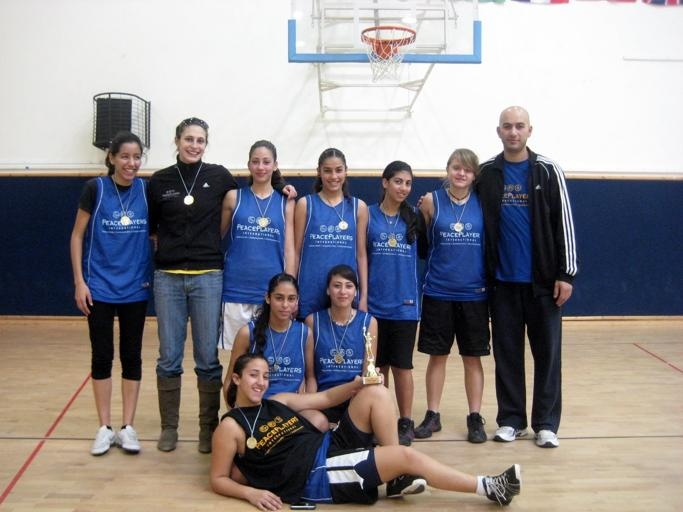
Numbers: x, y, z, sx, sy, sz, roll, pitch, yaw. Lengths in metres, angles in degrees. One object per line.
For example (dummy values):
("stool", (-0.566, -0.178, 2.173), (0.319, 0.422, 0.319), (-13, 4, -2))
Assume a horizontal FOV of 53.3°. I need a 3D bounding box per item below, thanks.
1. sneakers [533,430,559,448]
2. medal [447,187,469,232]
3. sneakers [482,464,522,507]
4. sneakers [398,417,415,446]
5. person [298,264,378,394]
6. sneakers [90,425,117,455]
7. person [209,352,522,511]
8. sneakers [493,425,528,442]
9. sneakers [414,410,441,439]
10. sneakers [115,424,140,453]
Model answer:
("sneakers", (1.380, 1.217, 4.565), (0.173, 0.093, 0.155), (1, 10, 6))
("medal", (0.798, -0.302, 4.695), (0.080, 0.302, 0.043), (2, -23, 4))
("sneakers", (0.892, 1.326, 3.953), (0.157, 0.371, 0.127), (3, 39, -18))
("sneakers", (0.426, 1.183, 4.538), (0.105, 0.145, 0.331), (-2, -12, 6))
("person", (-0.024, 0.531, 4.393), (0.558, 0.929, 0.509), (6, 15, 26))
("sneakers", (-1.535, 1.204, 4.407), (0.083, 0.110, 0.227), (-1, 1, 0))
("person", (0.197, 1.014, 4.251), (1.677, 0.936, 0.843), (-2, -4, 10))
("sneakers", (1.131, 1.204, 4.611), (0.256, 0.118, 0.097), (10, -14, -32))
("sneakers", (0.598, 1.178, 4.689), (0.090, 0.130, 0.282), (-4, -12, 28))
("sneakers", (-1.375, 1.200, 4.398), (0.090, 0.118, 0.243), (4, -9, -27))
